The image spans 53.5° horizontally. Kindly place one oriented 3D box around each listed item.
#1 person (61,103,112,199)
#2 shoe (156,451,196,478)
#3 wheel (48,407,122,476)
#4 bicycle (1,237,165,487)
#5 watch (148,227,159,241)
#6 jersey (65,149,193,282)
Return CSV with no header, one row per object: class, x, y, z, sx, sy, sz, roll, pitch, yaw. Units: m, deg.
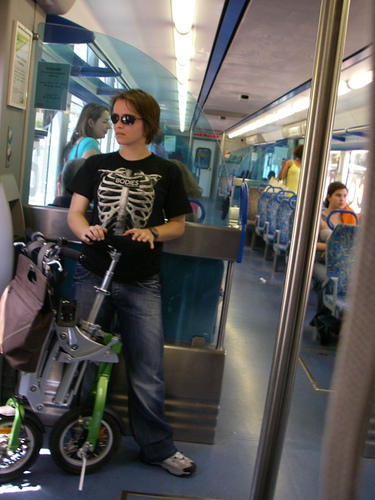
person,-0.599,-0.491,2.237,0.263,0.740,0.224,7,22,-9
shoe,-0.049,1.080,1.922,0.209,0.093,0.082,-2,-6,29
wheel,-0.496,0.913,1.808,0.316,0.316,0.085,2,4,-16
bicycle,-0.510,0.493,1.808,0.600,1.181,0.725,7,8,4
watch,-0.147,-0.073,1.687,0.053,0.047,0.036,46,29,13
jersey,-0.314,-0.193,1.818,0.596,0.605,0.242,7,-5,2
